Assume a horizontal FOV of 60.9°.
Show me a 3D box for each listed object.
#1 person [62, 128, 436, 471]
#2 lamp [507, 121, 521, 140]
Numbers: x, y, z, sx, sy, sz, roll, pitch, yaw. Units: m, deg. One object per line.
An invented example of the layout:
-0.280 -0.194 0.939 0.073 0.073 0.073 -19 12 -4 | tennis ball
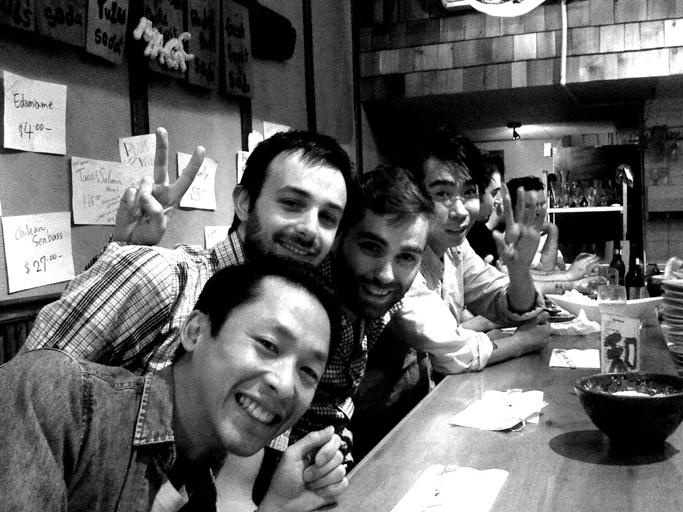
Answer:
-0.284 0.156 1.952 0.980 1.411 0.696 17 -26 -28 | person
2.031 -1.491 6.821 0.103 0.114 0.159 -4 -22 20 | lamp
